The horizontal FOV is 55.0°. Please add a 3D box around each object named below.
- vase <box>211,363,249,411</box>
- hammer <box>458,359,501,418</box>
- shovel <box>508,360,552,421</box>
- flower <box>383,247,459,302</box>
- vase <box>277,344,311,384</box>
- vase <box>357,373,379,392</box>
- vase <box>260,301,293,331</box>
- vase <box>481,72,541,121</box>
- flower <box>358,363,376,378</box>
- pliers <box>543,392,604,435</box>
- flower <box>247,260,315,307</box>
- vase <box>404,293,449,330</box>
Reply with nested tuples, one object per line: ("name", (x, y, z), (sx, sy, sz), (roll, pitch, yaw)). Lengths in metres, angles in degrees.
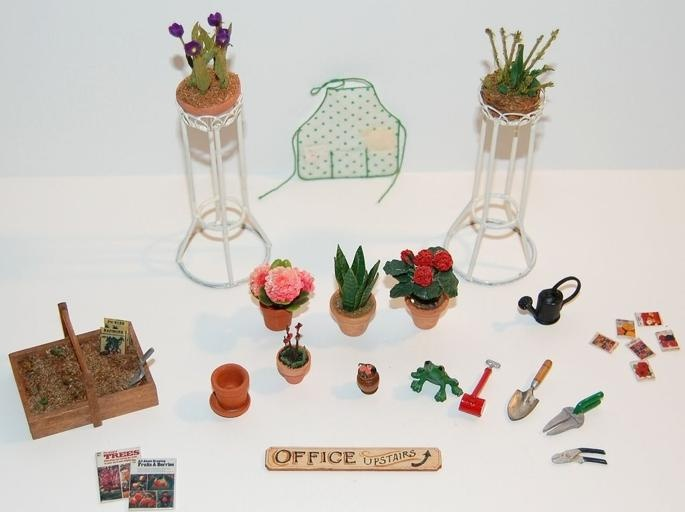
("vase", (-0.604, 0.700, 3.586), (0.185, 0.218, 0.247), (0, 44, -3))
("hammer", (0.742, 0.734, 3.669), (0.131, 0.099, 0.423), (6, 51, 24))
("shovel", (1.064, 0.745, 3.709), (0.398, 0.237, 0.118), (-16, 24, -42))
("flower", (0.466, 0.109, 3.783), (0.307, 0.362, 0.303), (-7, 37, -5))
("vase", (-0.266, 0.612, 3.714), (0.212, 0.243, 0.192), (-3, 18, -13))
("vase", (0.131, 0.716, 3.658), (0.093, 0.110, 0.113), (2, 42, 5))
("vase", (-0.397, 0.364, 3.950), (0.145, 0.141, 0.175), (2, 26, 0))
("vase", (0.960, -0.900, 3.762), (0.355, 0.241, 0.159), (7, 18, 16))
("flower", (0.135, 0.627, 3.666), (0.085, 0.047, 0.094), (-14, 24, -37))
("pliers", (1.283, 0.852, 3.627), (0.429, 0.187, 0.108), (-10, 20, -30))
("flower", (-0.352, 0.170, 3.816), (0.290, 0.266, 0.281), (17, 24, 40))
("vase", (0.509, 0.304, 3.979), (0.228, 0.221, 0.259), (0, 14, -5))
